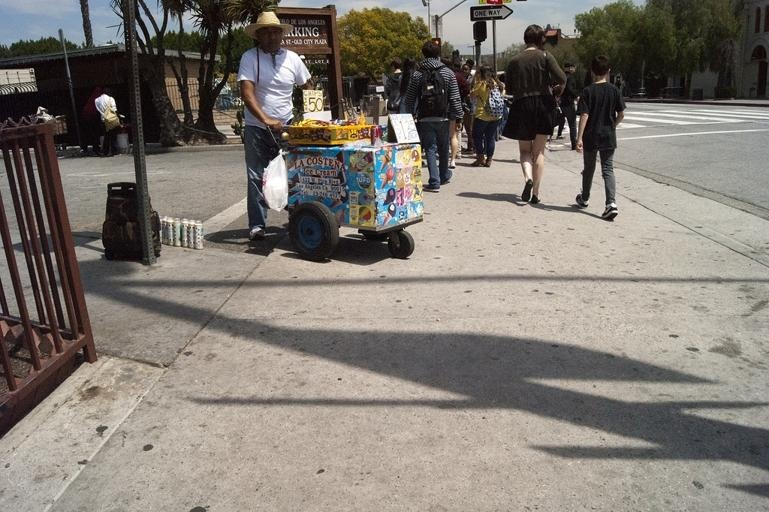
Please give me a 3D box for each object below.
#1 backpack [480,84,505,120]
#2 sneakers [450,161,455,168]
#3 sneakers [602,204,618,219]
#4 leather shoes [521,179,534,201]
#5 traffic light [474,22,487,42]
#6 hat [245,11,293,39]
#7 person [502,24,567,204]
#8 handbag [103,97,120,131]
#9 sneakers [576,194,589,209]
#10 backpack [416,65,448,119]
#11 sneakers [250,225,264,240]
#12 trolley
[{"bbox_3d":[2.434,-3.353,11.838,0.329,0.749,0.544,14,24,40],"label":"backpack"},{"bbox_3d":[1.605,-2.123,12.591,0.125,0.171,0.387,-1,9,7],"label":"sneakers"},{"bbox_3d":[3.298,-0.614,7.809,0.120,0.149,0.311,-1,12,1],"label":"sneakers"},{"bbox_3d":[2.320,-1.011,8.734,0.145,0.393,0.150,10,41,18],"label":"leather shoes"},{"bbox_3d":[2.863,-6.669,15.970,0.407,0.571,0.256,-8,19,-18],"label":"traffic light"},{"bbox_3d":[-1.453,-2.879,6.668,0.548,0.283,0.481,-7,20,-14],"label":"hat"},{"bbox_3d":[2.541,-2.363,8.911,0.985,2.806,0.954,-5,9,-26],"label":"person"},{"bbox_3d":[-9.383,-4.789,18.292,0.469,1.105,0.735,-11,20,-26],"label":"handbag"},{"bbox_3d":[3.161,-0.847,8.574,0.115,0.145,0.336,3,30,14],"label":"sneakers"},{"bbox_3d":[0.867,-2.929,9.726,0.543,0.887,0.395,-2,18,0],"label":"backpack"},{"bbox_3d":[-1.631,-0.274,6.892,0.227,0.104,0.101,14,19,34],"label":"sneakers"},{"bbox_3d":[-0.442,-0.715,6.605,1.447,1.438,1.736,-8,17,-28],"label":"trolley"}]
